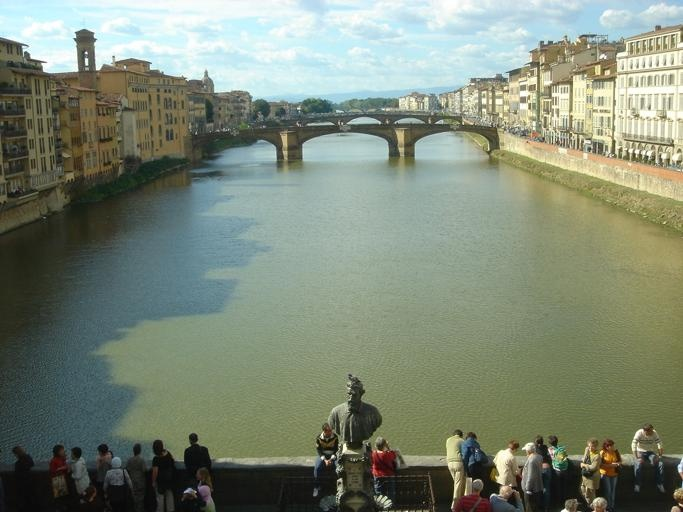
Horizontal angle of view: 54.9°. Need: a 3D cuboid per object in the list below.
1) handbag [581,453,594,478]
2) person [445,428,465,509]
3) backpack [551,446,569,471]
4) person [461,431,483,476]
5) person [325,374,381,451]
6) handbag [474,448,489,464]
[{"bbox_3d":[4.239,3.620,11.394,0.132,0.345,0.254,2,-5,5],"label":"handbag"},{"bbox_3d":[2.010,3.842,11.688,0.340,1.117,1.058,1,15,9],"label":"person"},{"bbox_3d":[3.890,3.618,11.760,0.345,0.422,0.295,2,15,10],"label":"backpack"},{"bbox_3d":[2.296,3.518,11.631,0.387,0.748,0.454,2,15,12],"label":"person"},{"bbox_3d":[0.178,2.362,9.996,0.756,1.376,0.481,-2,15,-4],"label":"person"},{"bbox_3d":[2.425,3.514,11.610,0.223,0.311,0.318,-5,-11,-2],"label":"handbag"}]
